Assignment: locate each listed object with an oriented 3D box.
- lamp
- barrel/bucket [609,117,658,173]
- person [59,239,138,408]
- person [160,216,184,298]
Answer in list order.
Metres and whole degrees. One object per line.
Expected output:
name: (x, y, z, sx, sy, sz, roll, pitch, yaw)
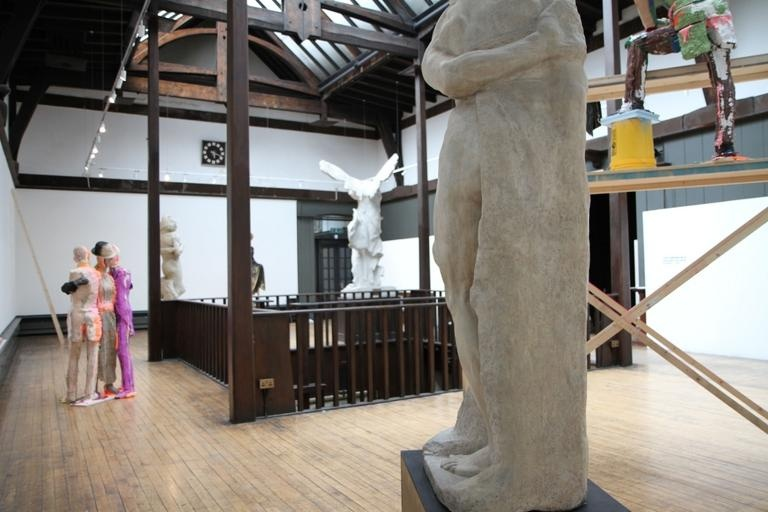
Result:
lamp: (-6.098, -3.566, 12.620, 0.133, 6.110, 0.338, 12, 20, -28)
barrel/bucket: (1.770, -0.757, 4.177, 0.359, 0.427, 0.368, -1, -2, 0)
person: (-3.435, 0.815, 6.910, 0.660, 1.959, 0.460, 0, -1, -27)
person: (-3.974, 0.028, 10.556, 0.385, 1.532, 0.667, -1, -1, -22)
